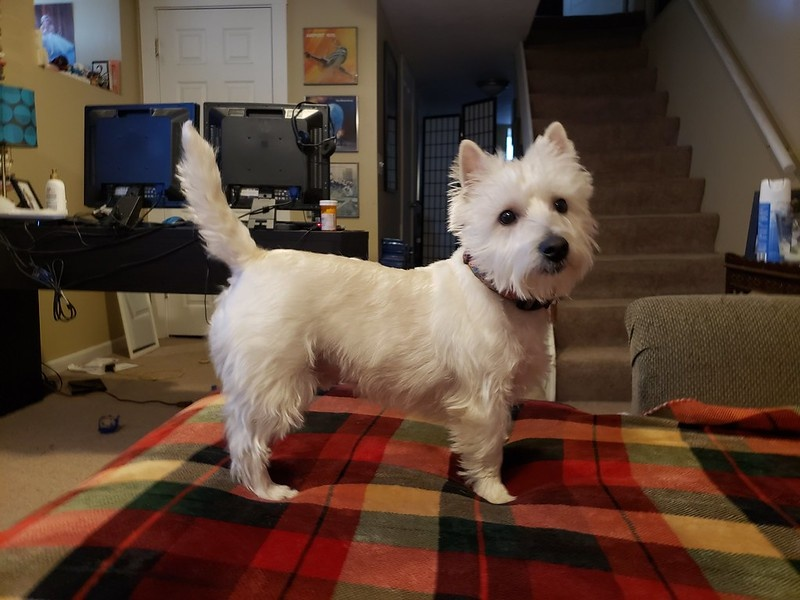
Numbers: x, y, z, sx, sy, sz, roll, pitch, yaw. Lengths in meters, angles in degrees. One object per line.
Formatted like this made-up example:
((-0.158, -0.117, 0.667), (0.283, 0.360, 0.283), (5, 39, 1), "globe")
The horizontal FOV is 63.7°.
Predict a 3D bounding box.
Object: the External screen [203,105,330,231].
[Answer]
((-0.716, -0.727, 3.441), (0.709, 0.653, 0.242), (2, 12, 3), "External screen")

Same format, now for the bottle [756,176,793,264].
((1.734, -0.371, 2.981), (0.148, 0.376, 0.286), (8, 12, 27), "bottle")

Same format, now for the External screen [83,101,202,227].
((-1.411, -0.781, 3.472), (0.603, 0.551, 0.149), (0, 7, -2), "External screen")
